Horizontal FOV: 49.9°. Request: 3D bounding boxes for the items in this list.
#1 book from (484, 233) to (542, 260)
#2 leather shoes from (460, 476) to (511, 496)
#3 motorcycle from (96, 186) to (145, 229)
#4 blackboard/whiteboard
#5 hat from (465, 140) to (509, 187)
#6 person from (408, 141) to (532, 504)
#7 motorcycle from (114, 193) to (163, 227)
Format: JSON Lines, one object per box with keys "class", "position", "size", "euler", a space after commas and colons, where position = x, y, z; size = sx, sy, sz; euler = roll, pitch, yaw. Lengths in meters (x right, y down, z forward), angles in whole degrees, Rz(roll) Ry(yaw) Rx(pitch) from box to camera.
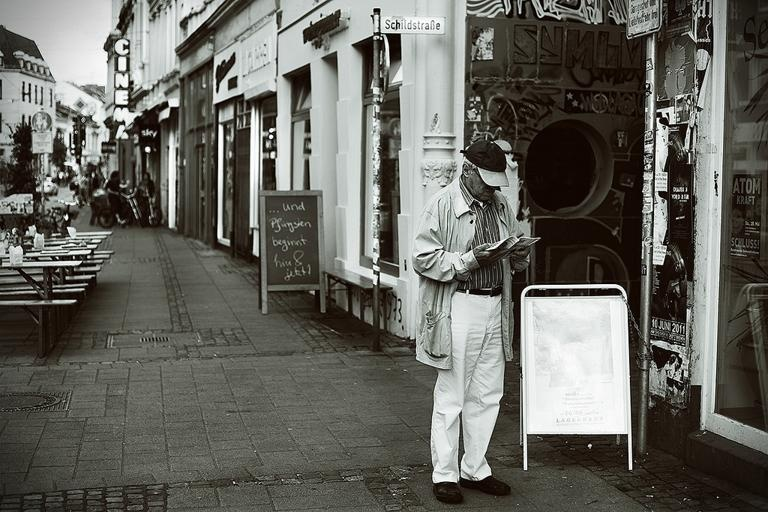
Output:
{"class": "book", "position": [1.022, -0.073, 6.780], "size": [0.452, 0.168, 0.152], "euler": [-4, 9, -27]}
{"class": "leather shoes", "position": [0.869, 1.902, 7.112], "size": [0.386, 0.151, 0.150], "euler": [3, 9, 29]}
{"class": "motorcycle", "position": [-11.274, -1.918, 34.977], "size": [1.904, 1.504, 1.276], "euler": [0, 6, 5]}
{"class": "blackboard/whiteboard", "position": [-1.562, -0.276, 14.088], "size": [0.983, 1.909, 0.129], "euler": [-3, 30, -9]}
{"class": "hat", "position": [0.835, -0.761, 6.876], "size": [0.368, 0.399, 0.213], "euler": [1, 8, 6]}
{"class": "person", "position": [0.695, 0.521, 6.966], "size": [0.909, 2.951, 0.610], "euler": [0, 7, -1]}
{"class": "motorcycle", "position": [-10.478, -1.954, 35.176], "size": [1.537, 1.200, 1.071], "euler": [3, 6, 18]}
